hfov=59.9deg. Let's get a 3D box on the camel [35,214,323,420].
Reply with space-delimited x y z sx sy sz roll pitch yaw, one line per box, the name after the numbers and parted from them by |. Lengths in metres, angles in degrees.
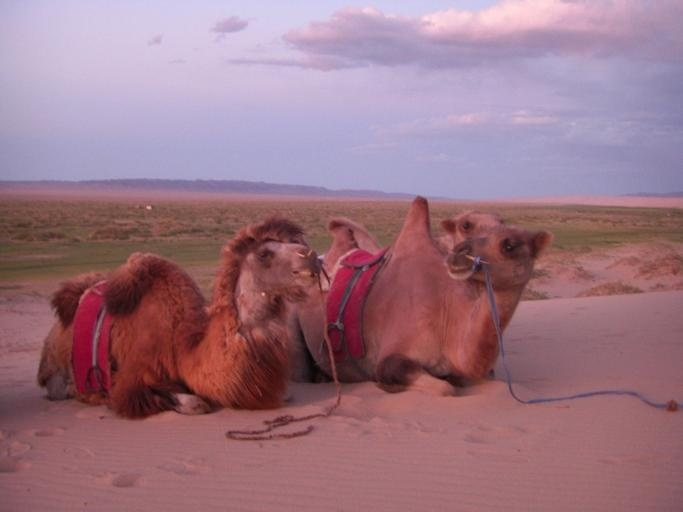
-1.640 0.865 6.208 3.394 1.881 1.204 -14 -16 31 | camel
